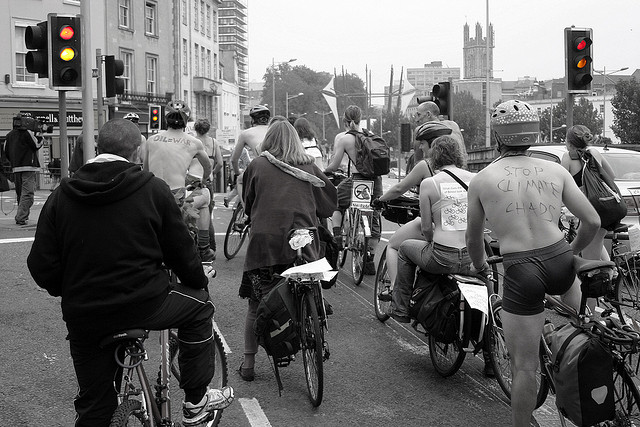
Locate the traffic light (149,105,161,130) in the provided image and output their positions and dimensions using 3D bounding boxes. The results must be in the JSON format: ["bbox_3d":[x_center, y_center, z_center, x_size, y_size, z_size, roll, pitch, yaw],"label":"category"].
[{"bbox_3d":[-6.387,-3.709,25.091,0.370,0.906,1.842,-1,9,-13],"label":"traffic light"}]

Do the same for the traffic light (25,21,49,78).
[{"bbox_3d":[-4.579,-2.662,10.438,0.349,0.912,0.584,-3,9,-24],"label":"traffic light"}]

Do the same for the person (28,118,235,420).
[{"bbox_3d":[-1.383,0.477,4.609,1.179,2.111,0.684,-5,9,-35],"label":"person"}]

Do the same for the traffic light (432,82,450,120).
[{"bbox_3d":[2.747,-2.552,14.549,0.396,0.798,0.339,2,8,11],"label":"traffic light"}]

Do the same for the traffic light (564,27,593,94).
[{"bbox_3d":[4.940,-2.892,12.213,0.530,1.232,0.512,2,8,8],"label":"traffic light"}]

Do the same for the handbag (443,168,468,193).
[{"bbox_3d":[1.438,-0.343,6.849,0.019,0.351,0.046,-39,-3,-26],"label":"handbag"}]

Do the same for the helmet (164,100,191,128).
[{"bbox_3d":[-2.040,-1.352,9.242,0.387,0.543,0.528,-2,-3,-11],"label":"helmet"}]

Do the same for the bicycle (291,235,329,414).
[{"bbox_3d":[-0.077,1.120,6.254,0.328,1.330,0.863,1,8,0],"label":"bicycle"}]

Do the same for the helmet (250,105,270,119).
[{"bbox_3d":[-0.978,-1.654,10.538,0.296,0.212,0.452,0,9,-8],"label":"helmet"}]

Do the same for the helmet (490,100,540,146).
[{"bbox_3d":[1.614,-0.714,5.282,0.326,0.377,0.430,-2,6,-15],"label":"helmet"}]

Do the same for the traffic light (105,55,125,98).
[{"bbox_3d":[-4.694,-3.148,14.745,0.390,0.945,1.343,-2,9,-18],"label":"traffic light"}]

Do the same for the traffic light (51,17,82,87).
[{"bbox_3d":[-4.063,-2.584,10.328,0.445,1.074,0.187,-3,8,-25],"label":"traffic light"}]
